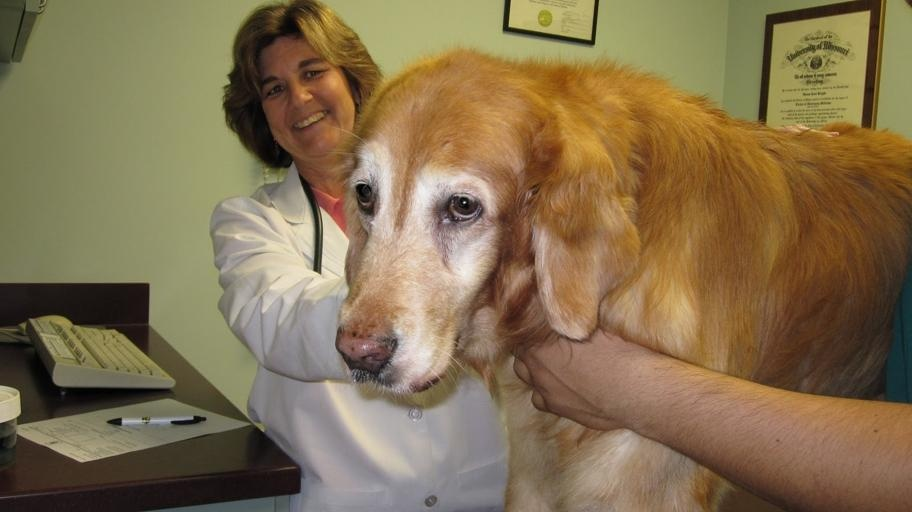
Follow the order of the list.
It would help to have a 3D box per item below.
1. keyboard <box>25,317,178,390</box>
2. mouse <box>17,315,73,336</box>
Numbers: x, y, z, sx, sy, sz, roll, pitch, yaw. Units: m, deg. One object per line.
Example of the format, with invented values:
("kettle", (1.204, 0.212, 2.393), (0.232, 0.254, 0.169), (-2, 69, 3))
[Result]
("keyboard", (-1.276, 0.331, 2.371), (0.377, 0.096, 0.632), (6, 7, -44))
("mouse", (-1.590, 0.253, 2.609), (0.145, 0.040, 0.154), (-4, 14, -26))
